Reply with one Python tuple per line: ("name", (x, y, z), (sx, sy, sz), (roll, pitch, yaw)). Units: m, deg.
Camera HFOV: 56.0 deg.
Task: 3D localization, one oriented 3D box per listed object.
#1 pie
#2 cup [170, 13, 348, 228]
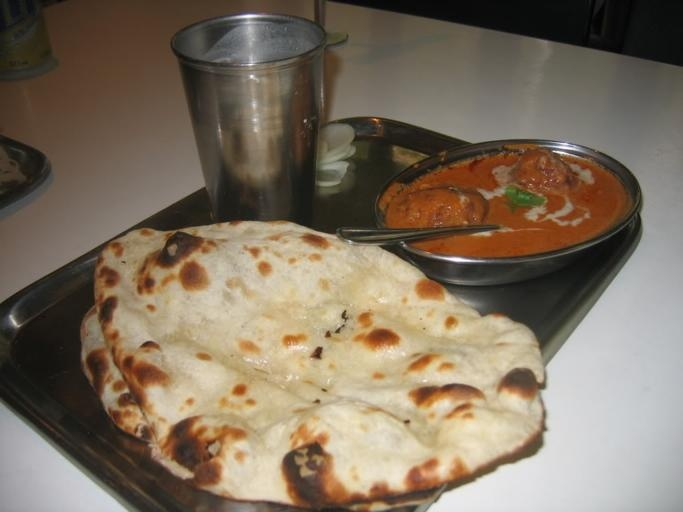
("pie", (-0.054, 0.131, 1.117), (0.731, 0.179, 0.602), (-7, 41, -11))
("cup", (-0.160, -0.307, 1.471), (0.448, 0.502, 0.365), (-5, 34, -10))
